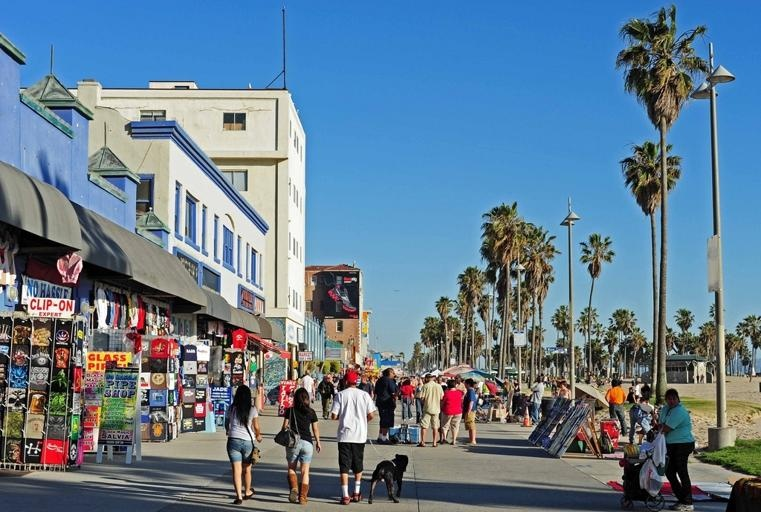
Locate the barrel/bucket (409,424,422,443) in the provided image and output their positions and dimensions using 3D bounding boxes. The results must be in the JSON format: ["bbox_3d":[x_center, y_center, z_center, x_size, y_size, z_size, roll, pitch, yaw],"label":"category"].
[{"bbox_3d":[1.223,6.121,35.051,0.379,0.618,0.568,1,-4,7],"label":"barrel/bucket"}]

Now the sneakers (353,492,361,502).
[{"bbox_3d":[-0.549,5.673,23.948,0.192,0.194,0.137,3,-13,-7],"label":"sneakers"}]

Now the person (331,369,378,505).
[{"bbox_3d":[-0.685,4.308,24.211,0.959,2.885,1.308,1,-3,-6],"label":"person"}]

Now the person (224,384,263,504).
[{"bbox_3d":[-3.258,4.373,23.808,0.886,2.659,1.012,0,-1,-2],"label":"person"}]

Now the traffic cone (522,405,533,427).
[{"bbox_3d":[6.236,6.957,43.842,0.626,1.002,0.692,0,-5,3],"label":"traffic cone"}]

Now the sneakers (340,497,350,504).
[{"bbox_3d":[-0.811,5.681,23.649,0.210,0.173,0.229,3,-14,-4],"label":"sneakers"}]

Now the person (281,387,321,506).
[{"bbox_3d":[-1.863,4.402,24.079,0.940,2.675,0.961,0,0,-1],"label":"person"}]

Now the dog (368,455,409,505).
[{"bbox_3d":[0.190,5.274,24.563,0.479,0.906,1.583,0,-5,21],"label":"dog"}]

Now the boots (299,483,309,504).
[{"bbox_3d":[-1.776,5.508,23.675,0.215,0.491,0.353,3,-13,-6],"label":"boots"}]

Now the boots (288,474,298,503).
[{"bbox_3d":[-1.997,5.391,23.537,0.177,0.619,0.398,-5,30,-8],"label":"boots"}]
